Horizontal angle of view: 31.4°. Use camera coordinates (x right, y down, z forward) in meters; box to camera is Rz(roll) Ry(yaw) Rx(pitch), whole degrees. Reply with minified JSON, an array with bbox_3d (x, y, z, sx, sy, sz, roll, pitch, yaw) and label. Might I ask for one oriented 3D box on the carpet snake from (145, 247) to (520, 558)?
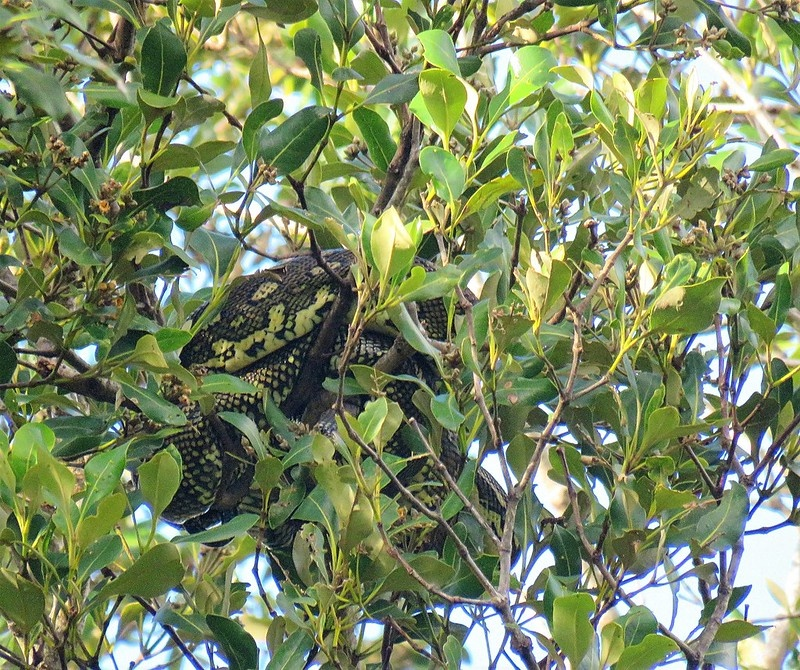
[{"bbox_3d":[-0.504,0.147,6.037,0.952,1.642,0.517,-2,19,1],"label":"carpet snake"}]
